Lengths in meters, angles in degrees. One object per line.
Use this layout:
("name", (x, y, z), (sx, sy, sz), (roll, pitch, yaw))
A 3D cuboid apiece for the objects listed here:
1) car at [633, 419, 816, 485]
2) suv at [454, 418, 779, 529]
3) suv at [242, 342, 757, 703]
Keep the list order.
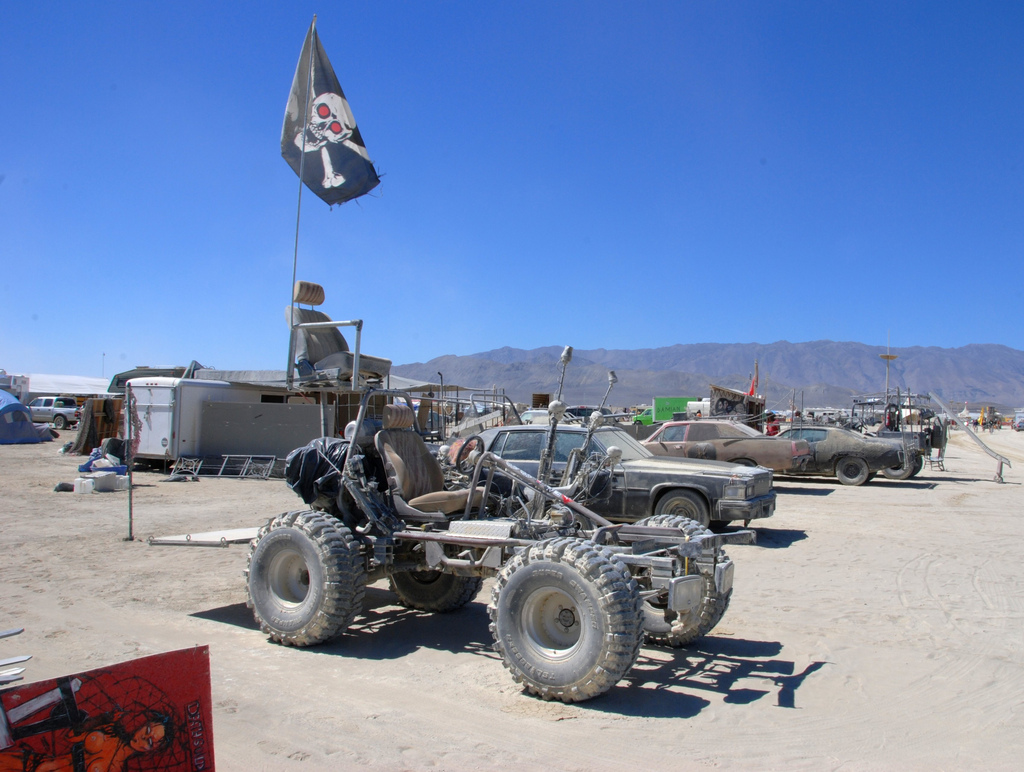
("car", (4.654, 1.607, 16.093), (3.142, 0.994, 1.543), (3, 2, 21))
("suv", (1.611, 1.439, 10.656), (4.128, 1.233, 1.851), (0, 2, 19))
("suv", (-0.130, 1.047, 6.365), (3.796, 1.943, 2.314), (0, -1, 29))
